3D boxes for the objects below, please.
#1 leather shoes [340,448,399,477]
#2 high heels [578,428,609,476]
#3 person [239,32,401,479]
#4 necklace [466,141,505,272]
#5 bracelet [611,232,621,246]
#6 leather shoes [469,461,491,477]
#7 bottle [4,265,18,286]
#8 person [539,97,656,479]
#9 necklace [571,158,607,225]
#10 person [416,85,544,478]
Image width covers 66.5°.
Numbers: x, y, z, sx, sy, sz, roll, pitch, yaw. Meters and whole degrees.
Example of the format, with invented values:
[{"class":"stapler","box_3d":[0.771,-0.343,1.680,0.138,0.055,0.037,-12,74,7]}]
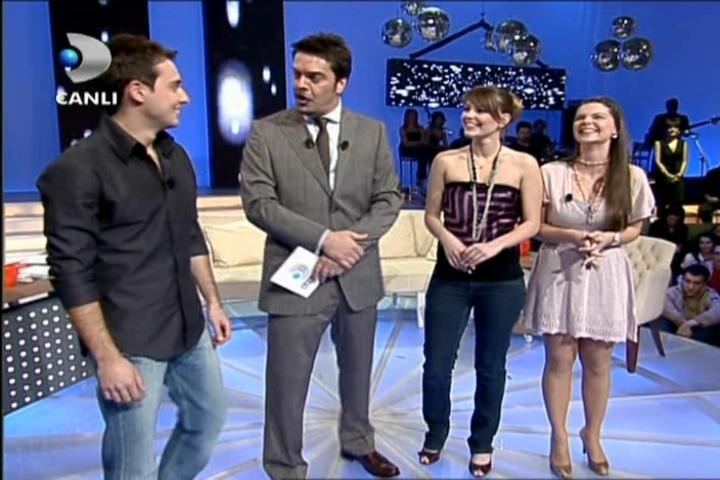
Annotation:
[{"class":"leather shoes","box_3d":[0.032,1.205,3.060,0.343,0.127,0.126,10,3,21]},{"class":"high heels","box_3d":[1.324,1.227,3.159,0.104,0.121,0.276,-7,58,-16]},{"class":"person","box_3d":[-0.174,0.140,2.815,0.817,2.321,0.542,-3,13,-13]},{"class":"necklace","box_3d":[0.681,-0.257,3.061,0.180,0.508,0.183,3,13,12]},{"class":"bracelet","box_3d":[1.413,-0.004,3.038,0.057,0.065,0.072,3,13,12]},{"class":"leather shoes","box_3d":[0.669,1.283,3.069,0.063,0.035,0.134,1,8,10]},{"class":"bottle","box_3d":[-2.061,0.205,3.258,0.068,0.096,0.187,-7,15,-28]},{"class":"person","box_3d":[1.268,0.264,3.114,0.592,2.078,0.602,7,15,26]},{"class":"necklace","box_3d":[1.290,-0.262,3.086,0.201,0.357,0.081,2,-7,4]},{"class":"person","box_3d":[0.650,0.226,3.077,0.636,2.115,0.528,4,14,17]}]
